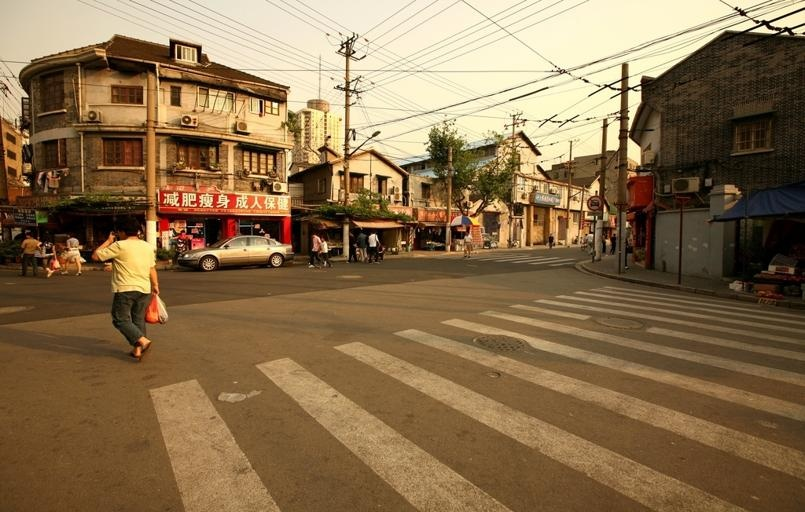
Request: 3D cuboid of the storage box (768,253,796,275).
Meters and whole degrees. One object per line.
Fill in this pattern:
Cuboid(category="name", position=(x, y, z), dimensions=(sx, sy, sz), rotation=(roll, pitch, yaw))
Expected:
Cuboid(category="storage box", position=(13.051, 0.285, 21.921), dimensions=(0.707, 0.429, 0.669), rotation=(-5, 8, -40))

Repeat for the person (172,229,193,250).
Cuboid(category="person", position=(-11.831, -0.869, 34.532), dimensions=(0.365, 1.274, 1.067), rotation=(1, 4, 38))

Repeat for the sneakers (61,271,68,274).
Cuboid(category="sneakers", position=(-14.028, 0.728, 26.803), dimensions=(0.231, 0.125, 0.368), rotation=(1, 1, -33))

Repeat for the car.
Cuboid(category="car", position=(-7.658, -0.005, 29.903), dimensions=(4.364, 1.377, 1.720), rotation=(2, -1, -34))

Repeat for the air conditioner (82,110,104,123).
Cuboid(category="air conditioner", position=(-15.661, -7.230, 32.631), dimensions=(1.056, 0.907, 0.532), rotation=(-1, 2, -19))

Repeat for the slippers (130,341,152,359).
Cuboid(category="slippers", position=(-6.390, 2.304, 15.736), dimensions=(0.554, 0.486, 0.169), rotation=(-1, 4, 1))

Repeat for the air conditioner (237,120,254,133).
Cuboid(category="air conditioner", position=(-8.812, -7.119, 36.076), dimensions=(0.538, 0.834, 1.017), rotation=(-4, -2, 26))

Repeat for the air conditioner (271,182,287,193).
Cuboid(category="air conditioner", position=(-7.238, -3.985, 37.873), dimensions=(0.563, 0.666, 1.008), rotation=(-2, -2, 29))

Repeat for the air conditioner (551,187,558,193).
Cuboid(category="air conditioner", position=(14.717, -6.309, 62.003), dimensions=(0.652, 0.310, 0.948), rotation=(0, 0, 20))

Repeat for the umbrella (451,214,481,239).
Cuboid(category="umbrella", position=(4.853, -2.178, 48.230), dimensions=(1.513, 1.655, 5.148), rotation=(0, 3, 14))
